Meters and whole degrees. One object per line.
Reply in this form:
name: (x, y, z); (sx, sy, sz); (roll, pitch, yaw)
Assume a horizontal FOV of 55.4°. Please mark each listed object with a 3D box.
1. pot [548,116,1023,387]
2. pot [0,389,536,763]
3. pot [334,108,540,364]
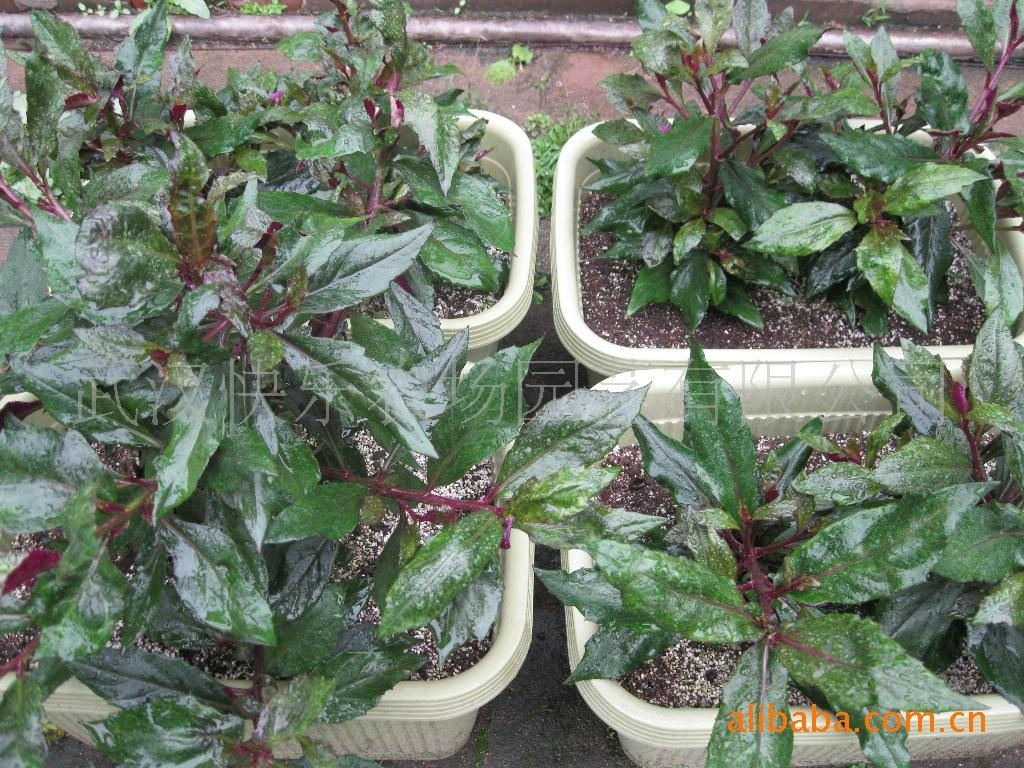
pot: (0.655, -0.300, 2.645); (1.052, 0.372, 0.811); (-1, 69, 1)
pot: (-0.540, 0.644, 2.588); (1.142, 0.528, 0.920); (1, 65, -5)
pot: (-0.071, -0.421, 2.774); (0.448, 0.263, 0.712); (0, 77, 3)
